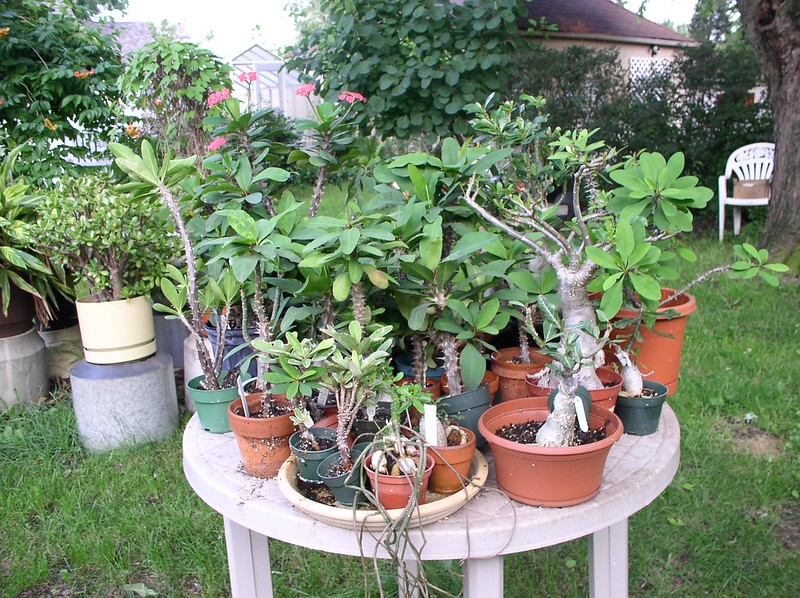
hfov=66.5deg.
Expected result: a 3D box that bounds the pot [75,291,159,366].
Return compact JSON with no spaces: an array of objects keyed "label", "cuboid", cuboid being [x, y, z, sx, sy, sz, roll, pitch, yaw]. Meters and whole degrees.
[{"label":"pot","cuboid":[-1.634,0.143,3.640,0.427,0.367,0.390,-1,8,0]}]

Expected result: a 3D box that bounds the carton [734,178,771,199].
[{"label":"carton","cuboid":[3.917,-1.221,6.873,0.376,0.237,0.391,2,4,24]}]

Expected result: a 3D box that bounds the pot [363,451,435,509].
[{"label":"pot","cuboid":[0.001,0.576,1.912,0.221,0.163,0.152,-2,9,-5]}]

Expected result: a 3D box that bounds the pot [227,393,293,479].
[{"label":"pot","cuboid":[-0.489,0.495,2.226,0.263,0.220,0.273,0,7,0]}]

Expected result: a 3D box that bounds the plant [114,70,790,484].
[{"label":"plant","cuboid":[0.407,-0.363,2.669,2.191,1.554,1.794,2,16,12]}]

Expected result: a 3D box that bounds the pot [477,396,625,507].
[{"label":"pot","cuboid":[0.463,0.520,1.991,0.351,0.173,0.360,-3,11,1]}]

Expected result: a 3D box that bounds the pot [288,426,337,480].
[{"label":"pot","cuboid":[-0.292,0.490,2.061,0.167,0.131,0.163,-1,7,0]}]

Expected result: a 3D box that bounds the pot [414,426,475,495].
[{"label":"pot","cuboid":[0.145,0.524,2.003,0.187,0.146,0.190,-1,12,0]}]
